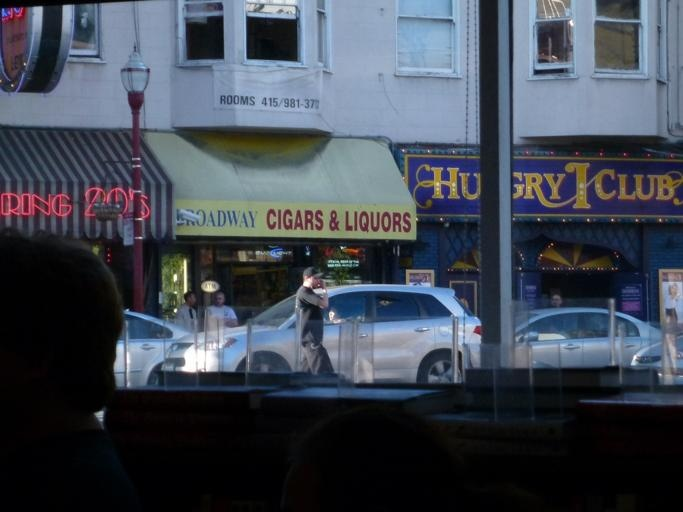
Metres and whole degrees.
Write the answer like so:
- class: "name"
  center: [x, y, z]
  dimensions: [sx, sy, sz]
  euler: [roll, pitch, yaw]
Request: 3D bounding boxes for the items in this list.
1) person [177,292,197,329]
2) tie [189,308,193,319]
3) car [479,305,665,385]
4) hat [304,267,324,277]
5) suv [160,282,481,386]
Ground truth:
- class: "person"
  center: [-2.471, 0.837, 22.631]
  dimensions: [0.265, 1.024, 0.367]
  euler: [-1, 6, 4]
- class: "tie"
  center: [-2.532, 0.929, 23.895]
  dimensions: [0.115, 0.187, 0.041]
  euler: [-3, -4, -9]
- class: "car"
  center: [2.873, 1.017, 16.755]
  dimensions: [1.414, 0.748, 0.877]
  euler: [1, -3, -1]
- class: "hat"
  center: [-0.415, 0.256, 21.522]
  dimensions: [0.275, 0.150, 0.205]
  euler: [-3, 5, -15]
- class: "suv"
  center: [0.111, 0.758, 18.798]
  dimensions: [3.592, 1.499, 1.596]
  euler: [5, -9, -21]
